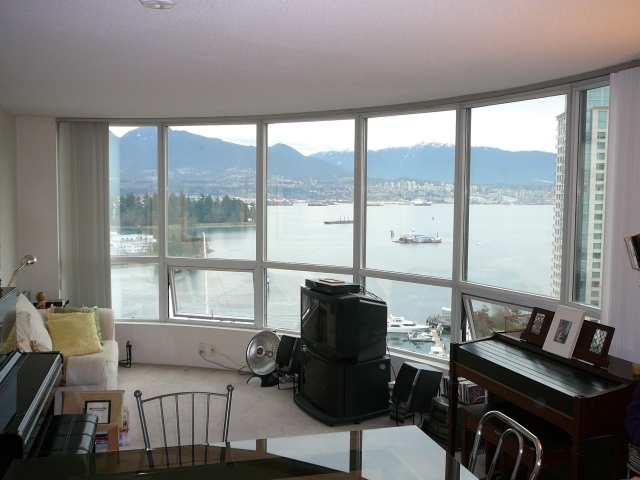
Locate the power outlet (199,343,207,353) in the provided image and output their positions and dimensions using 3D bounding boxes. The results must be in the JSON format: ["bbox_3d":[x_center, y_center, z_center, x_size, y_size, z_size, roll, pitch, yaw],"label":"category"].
[{"bbox_3d":[-1.597,1.479,6.420,0.136,0.136,0.071,2,0,7],"label":"power outlet"}]

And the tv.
[{"bbox_3d":[0.245,0.894,5.176,0.707,0.709,0.890,-1,2,-25],"label":"tv"}]

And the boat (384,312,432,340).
[{"bbox_3d":[1.046,1.062,5.743,0.649,0.256,0.189,4,10,21],"label":"boat"}]

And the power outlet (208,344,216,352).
[{"bbox_3d":[-1.464,1.483,6.392,0.092,0.110,0.022,1,6,25],"label":"power outlet"}]

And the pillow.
[{"bbox_3d":[-2.837,1.009,5.136,0.754,0.519,0.800,0,6,-20],"label":"pillow"}]

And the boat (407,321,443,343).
[{"bbox_3d":[1.243,1.089,5.516,0.296,0.108,0.228,0,6,4],"label":"boat"}]

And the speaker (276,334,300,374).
[{"bbox_3d":[-0.377,1.423,5.786,0.314,0.437,0.209,4,7,42],"label":"speaker"}]
